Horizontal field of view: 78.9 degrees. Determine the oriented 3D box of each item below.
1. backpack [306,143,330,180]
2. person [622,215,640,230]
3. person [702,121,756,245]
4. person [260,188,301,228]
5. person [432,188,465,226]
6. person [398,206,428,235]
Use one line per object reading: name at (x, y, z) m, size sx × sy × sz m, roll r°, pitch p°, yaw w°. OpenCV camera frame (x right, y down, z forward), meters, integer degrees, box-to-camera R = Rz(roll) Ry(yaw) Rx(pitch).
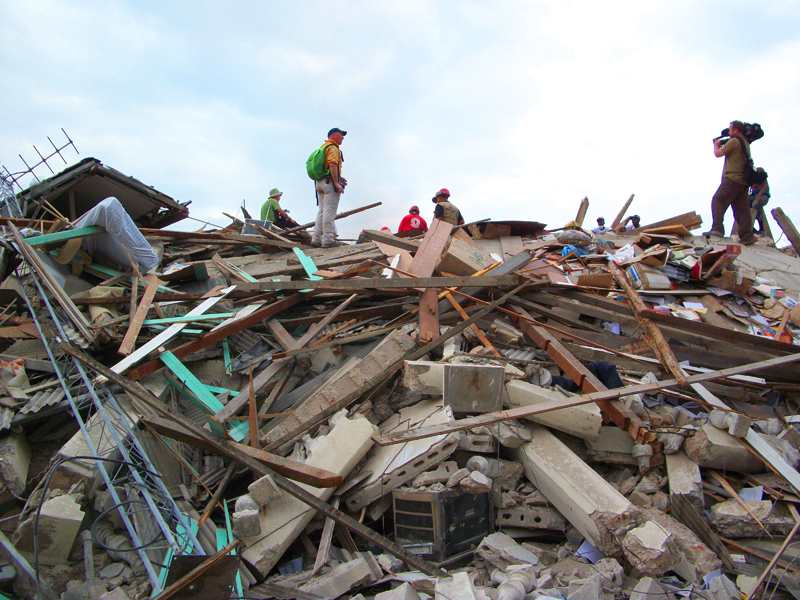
backpack at (-1.530, -2.564, 9.054) m, size 0.539 × 0.669 × 0.256 m, roll 5°, pitch 6°, yaw 42°
person at (5.139, -1.763, 11.211) m, size 0.303 × 0.363 × 1.592 m, roll 3°, pitch 4°, yaw 21°
person at (6.255, -2.242, 9.402) m, size 0.750 × 2.257 × 1.149 m, roll 5°, pitch 5°, yaw 32°
person at (-2.810, -2.176, 11.263) m, size 0.716 × 1.024 × 1.770 m, roll 1°, pitch 3°, yaw -7°
person at (0.963, -1.914, 10.080) m, size 0.591 × 0.759 × 0.915 m, roll 2°, pitch 4°, yaw 3°
person at (0.226, -1.630, 10.001) m, size 0.537 × 0.691 × 1.075 m, roll 2°, pitch 4°, yaw 1°
